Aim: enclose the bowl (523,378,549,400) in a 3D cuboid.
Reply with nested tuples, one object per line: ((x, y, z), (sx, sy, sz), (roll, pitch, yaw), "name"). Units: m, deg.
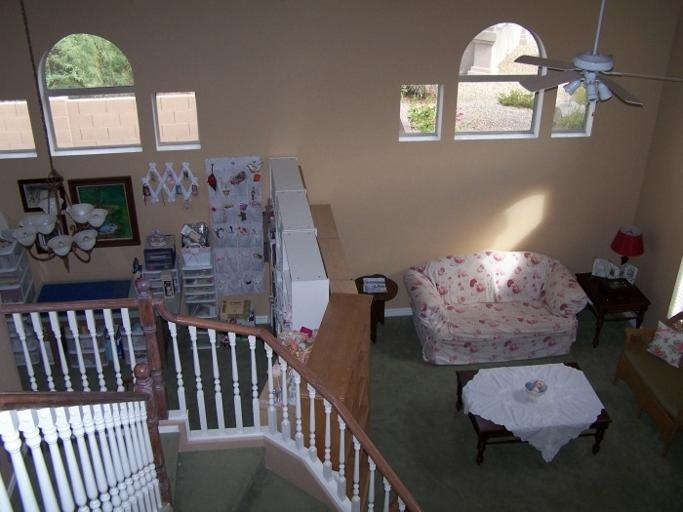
((2.371, 1.604, 6.289), (0.214, 0.154, 0.218), (-5, 24, 2), "bowl")

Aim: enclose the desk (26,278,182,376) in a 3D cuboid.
((-2.823, 0.827, 6.038), (1.119, 0.625, 0.824), (-4, 41, -8), "desk")

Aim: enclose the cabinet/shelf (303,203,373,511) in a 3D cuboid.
((-0.051, 1.025, 5.086), (0.512, 1.650, 3.113), (-6, 45, -3), "cabinet/shelf")

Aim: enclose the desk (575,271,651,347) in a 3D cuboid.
((4.305, 0.616, 8.127), (0.964, 0.945, 1.252), (-4, 32, -1), "desk")

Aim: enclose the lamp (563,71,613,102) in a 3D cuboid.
((1.840, -1.256, 3.876), (0.351, 0.196, 0.227), (-6, 18, -9), "lamp")

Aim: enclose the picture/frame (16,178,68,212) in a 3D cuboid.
((-3.708, -0.760, 6.357), (0.630, 0.582, 0.069), (-2, 30, -5), "picture/frame")

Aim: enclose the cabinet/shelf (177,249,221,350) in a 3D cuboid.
((-2.138, 0.598, 7.648), (0.581, 1.572, 0.428), (-3, 17, -1), "cabinet/shelf")

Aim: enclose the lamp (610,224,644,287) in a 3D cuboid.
((4.485, -0.064, 8.067), (0.417, 0.753, 0.588), (12, 23, 40), "lamp")

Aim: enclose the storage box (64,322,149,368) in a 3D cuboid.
((-2.878, 1.080, 6.264), (0.885, 0.641, 0.488), (-3, 21, -8), "storage box")

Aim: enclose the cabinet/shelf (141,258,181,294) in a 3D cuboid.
((-2.470, 0.273, 7.025), (0.426, 0.451, 0.329), (-1, 13, -8), "cabinet/shelf")

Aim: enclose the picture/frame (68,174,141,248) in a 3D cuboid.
((-3.121, -0.641, 6.747), (0.998, 1.224, 0.068), (-5, 29, -7), "picture/frame")
